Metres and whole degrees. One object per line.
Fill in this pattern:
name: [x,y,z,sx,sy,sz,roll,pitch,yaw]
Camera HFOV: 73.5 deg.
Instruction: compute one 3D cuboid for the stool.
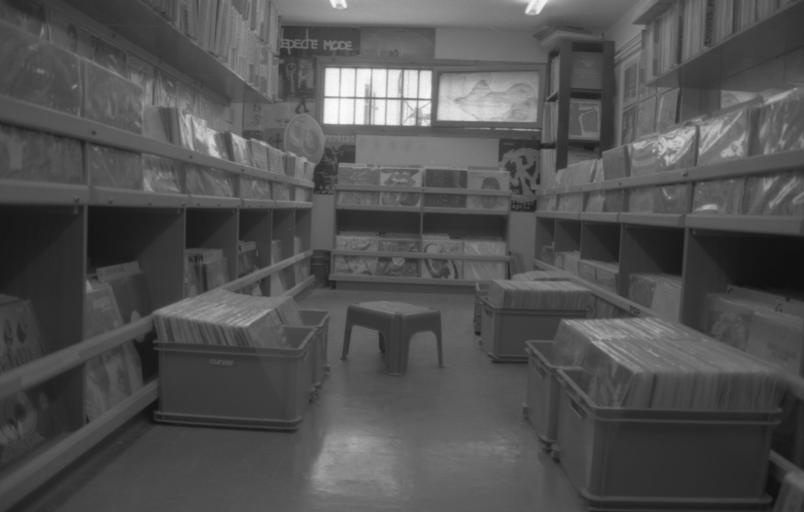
stool: [-0.061,0.625,4.174,0.571,0.436,0.744,7,1,35]
